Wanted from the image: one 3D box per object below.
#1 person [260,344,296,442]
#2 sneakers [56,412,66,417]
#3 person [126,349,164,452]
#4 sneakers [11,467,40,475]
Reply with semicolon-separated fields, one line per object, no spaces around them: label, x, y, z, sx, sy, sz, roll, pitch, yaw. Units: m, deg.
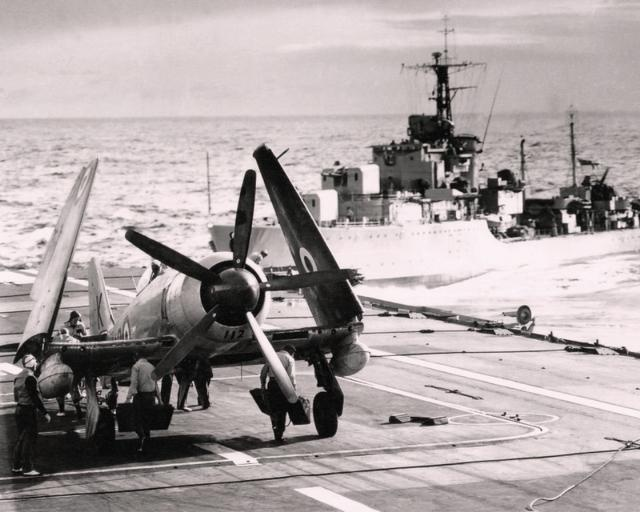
person;-1.008;3.381;27.782;0.802;2.334;1.078;-1;8;-3
sneakers;-6.928;4.247;30.752;0.197;0.066;0.127;-5;5;-11
person;-4.139;3.538;26.967;0.772;2.333;1.152;-1;8;-9
sneakers;-6.660;4.892;26.014;0.637;0.195;0.200;1;0;-4
